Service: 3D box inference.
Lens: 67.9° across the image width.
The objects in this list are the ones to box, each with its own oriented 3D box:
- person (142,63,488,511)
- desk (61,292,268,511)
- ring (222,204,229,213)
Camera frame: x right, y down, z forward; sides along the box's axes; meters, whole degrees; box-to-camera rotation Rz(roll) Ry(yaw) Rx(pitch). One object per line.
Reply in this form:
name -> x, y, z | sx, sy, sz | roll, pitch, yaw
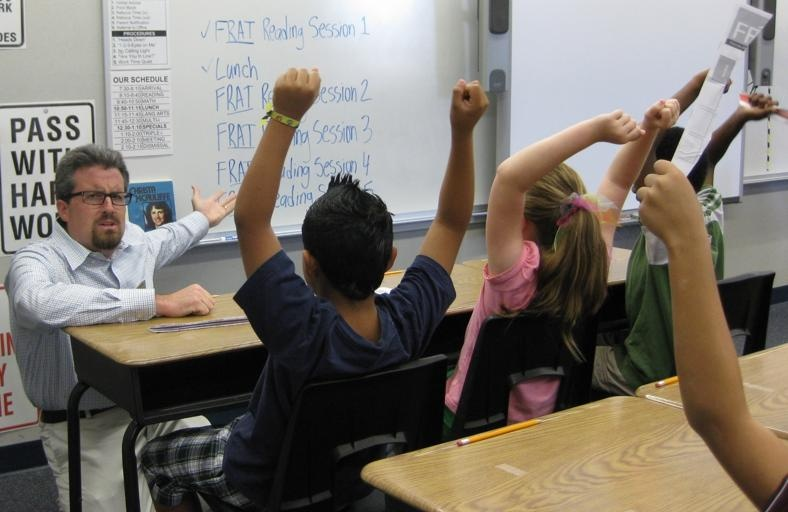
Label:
person -> -0.106, 0.072, 1.486 | 0.704, 1.041, 0.246 | -9, 16, -30
desk -> -0.744, 0.313, 2.176 | 0.775, 0.773, 0.611 | -9, 17, -38
ring -> -0.813, -0.236, 2.817 | 0.026, 0.032, 0.034 | 0, -9, -25
